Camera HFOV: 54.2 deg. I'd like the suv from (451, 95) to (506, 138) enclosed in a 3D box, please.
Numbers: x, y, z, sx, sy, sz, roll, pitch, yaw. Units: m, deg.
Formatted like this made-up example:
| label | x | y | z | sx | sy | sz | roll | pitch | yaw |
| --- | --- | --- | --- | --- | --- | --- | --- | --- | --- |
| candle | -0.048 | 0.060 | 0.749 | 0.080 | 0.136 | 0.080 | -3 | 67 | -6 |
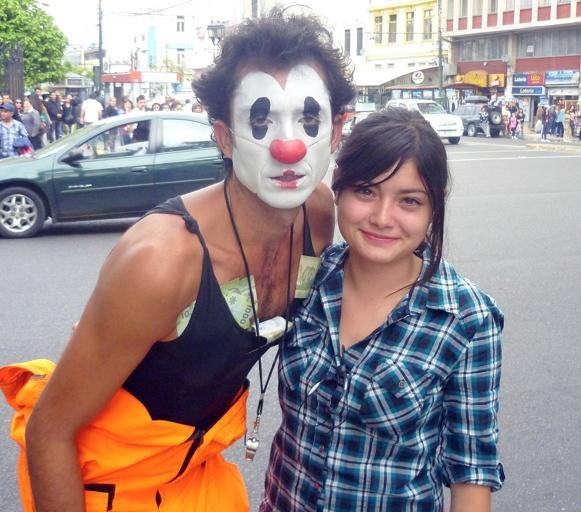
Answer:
| label | x | y | z | sx | sy | sz | roll | pitch | yaw |
| --- | --- | --- | --- | --- | --- | --- | --- | --- | --- |
| suv | 11.431 | -8.547 | 35.010 | 1.942 | 2.447 | 3.942 | -5 | 18 | -18 |
